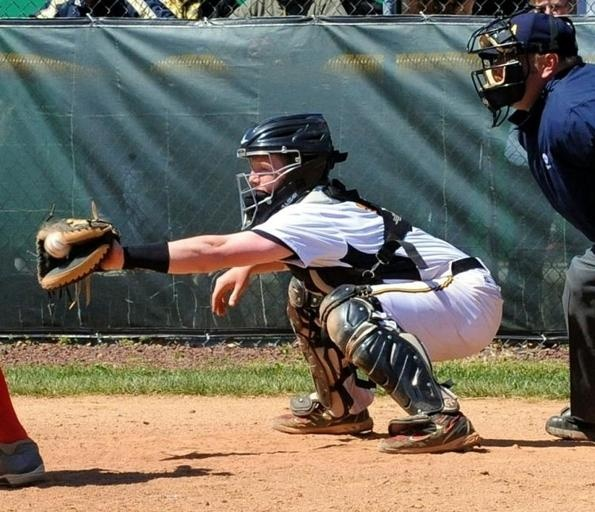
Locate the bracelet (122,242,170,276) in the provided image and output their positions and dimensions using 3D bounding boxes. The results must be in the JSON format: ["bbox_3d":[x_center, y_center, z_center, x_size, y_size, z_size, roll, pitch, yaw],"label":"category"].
[{"bbox_3d":[-0.634,0.009,4.000,0.173,0.059,0.140,-3,48,1],"label":"bracelet"}]

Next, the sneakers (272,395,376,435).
[{"bbox_3d":[0.114,0.832,4.971,0.585,0.196,0.170,3,-1,6],"label":"sneakers"}]

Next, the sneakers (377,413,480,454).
[{"bbox_3d":[0.595,0.808,4.296,0.529,0.192,0.161,-1,0,2],"label":"sneakers"}]

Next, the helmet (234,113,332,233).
[{"bbox_3d":[-0.037,-0.438,4.771,0.591,0.481,0.444,-10,5,-16],"label":"helmet"}]
